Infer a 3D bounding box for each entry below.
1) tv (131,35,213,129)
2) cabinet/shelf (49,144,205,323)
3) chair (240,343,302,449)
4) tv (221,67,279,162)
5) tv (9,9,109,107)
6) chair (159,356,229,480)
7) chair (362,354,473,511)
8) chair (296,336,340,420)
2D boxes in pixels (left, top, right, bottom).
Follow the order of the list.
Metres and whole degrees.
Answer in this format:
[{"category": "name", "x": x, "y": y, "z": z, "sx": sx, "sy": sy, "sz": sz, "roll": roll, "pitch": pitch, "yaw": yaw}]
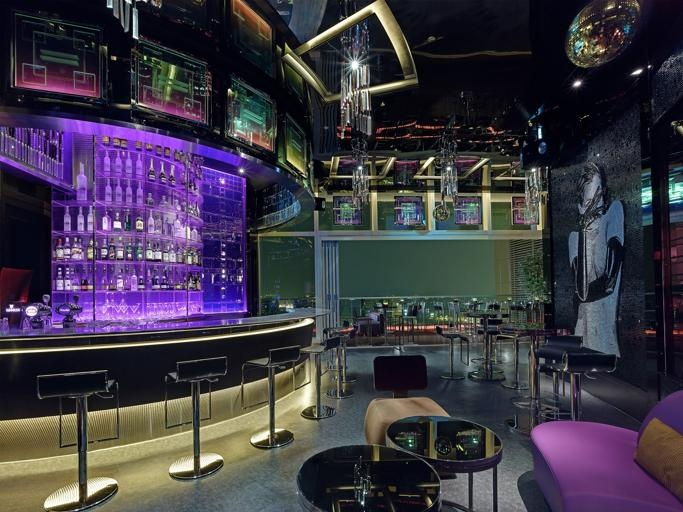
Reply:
[{"category": "tv", "x": -2.168, "y": -2.174, "z": 7.010, "sx": 1.265, "sy": 0.930, "sz": 0.172, "roll": 5, "pitch": -8, "yaw": -35}, {"category": "cabinet/shelf", "x": -3.145, "y": -0.327, "z": 7.962, "sx": 1.091, "sy": 3.076, "sz": 2.357, "roll": -4, "pitch": -6, "yaw": 40}, {"category": "chair", "x": -0.911, "y": 1.677, "z": 7.231, "sx": 0.762, "sy": 1.128, "sz": 1.268, "roll": -3, "pitch": 9, "yaw": -12}, {"category": "tv", "x": -1.297, "y": -1.954, "z": 7.732, "sx": 0.170, "sy": 1.122, "sz": 1.354, "roll": 5, "pitch": -2, "yaw": 34}, {"category": "tv", "x": -3.336, "y": -2.263, "z": 6.507, "sx": 1.243, "sy": 1.227, "sz": 0.194, "roll": 1, "pitch": -2, "yaw": -27}, {"category": "chair", "x": -1.651, "y": 1.792, "z": 6.344, "sx": 0.615, "sy": 1.226, "sz": 0.687, "roll": -1, "pitch": 9, "yaw": 0}, {"category": "chair", "x": 0.764, "y": 1.903, "z": 6.667, "sx": 1.352, "sy": 1.379, "sz": 1.286, "roll": 1, "pitch": -9, "yaw": -6}, {"category": "chair", "x": -0.298, "y": 1.657, "z": 7.965, "sx": 0.540, "sy": 1.079, "sz": 1.168, "roll": -1, "pitch": 9, "yaw": -1}]
